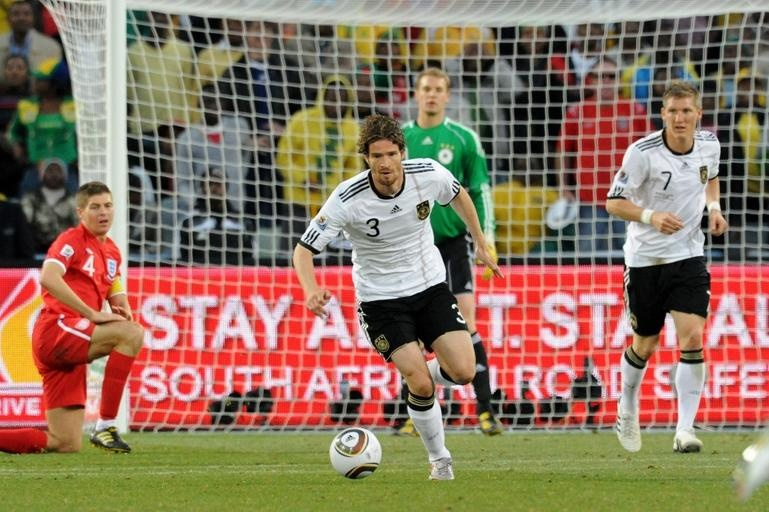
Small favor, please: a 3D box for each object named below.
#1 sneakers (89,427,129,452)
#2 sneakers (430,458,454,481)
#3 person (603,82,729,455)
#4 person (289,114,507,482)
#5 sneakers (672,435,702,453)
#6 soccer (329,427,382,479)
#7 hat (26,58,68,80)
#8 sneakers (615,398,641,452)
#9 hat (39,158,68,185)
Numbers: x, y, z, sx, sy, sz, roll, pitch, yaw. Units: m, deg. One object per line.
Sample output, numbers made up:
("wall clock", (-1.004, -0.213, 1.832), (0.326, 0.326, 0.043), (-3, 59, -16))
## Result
("sneakers", (-2.401, 1.599, 9.480), (0.347, 0.182, 0.176), (8, 11, 24))
("sneakers", (0.454, 1.668, 8.676), (0.198, 0.165, 0.255), (0, 4, 2))
("person", (2.385, 0.117, 9.364), (0.856, 3.213, 0.674), (1, 4, 16))
("person", (0.127, 0.313, 8.791), (1.530, 2.874, 0.821), (0, 4, -5))
("sneakers", (2.563, 1.603, 9.315), (0.113, 0.151, 0.306), (-6, -16, -10))
("soccer", (-0.231, 1.518, 8.456), (0.387, 0.394, 0.368), (5, -9, -16))
("hat", (-4.104, -2.293, 13.257), (0.394, 0.231, 0.253), (9, -1, -1))
("sneakers", (2.168, 1.492, 9.677), (0.175, 0.486, 0.194), (-7, -5, 14))
("hat", (-3.976, -1.012, 13.076), (0.260, 0.350, 0.340), (0, 37, -9))
